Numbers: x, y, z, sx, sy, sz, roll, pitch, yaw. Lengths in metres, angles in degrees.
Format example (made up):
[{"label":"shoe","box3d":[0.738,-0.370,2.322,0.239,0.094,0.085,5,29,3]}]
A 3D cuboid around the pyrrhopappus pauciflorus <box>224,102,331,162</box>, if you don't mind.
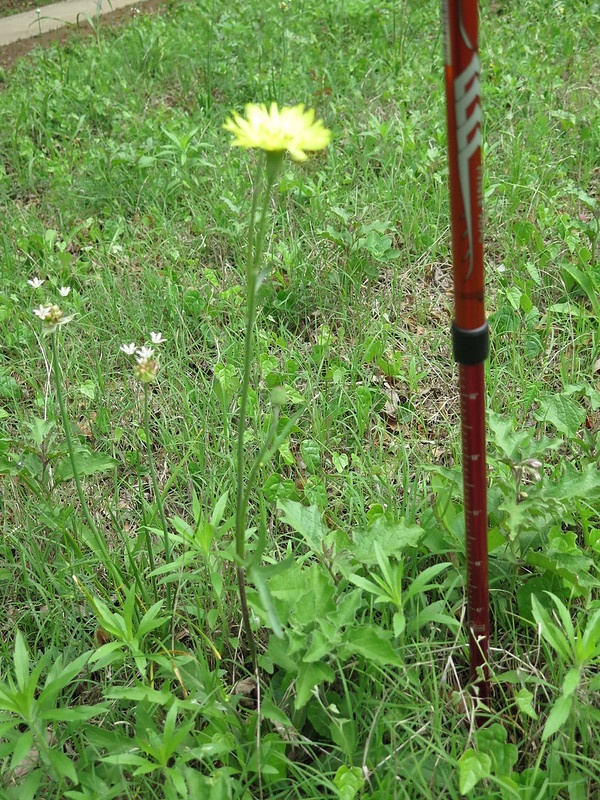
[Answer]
[{"label":"pyrrhopappus pauciflorus","box3d":[-0.028,-0.316,0.841,0.090,0.040,0.097,3,-4,14]}]
